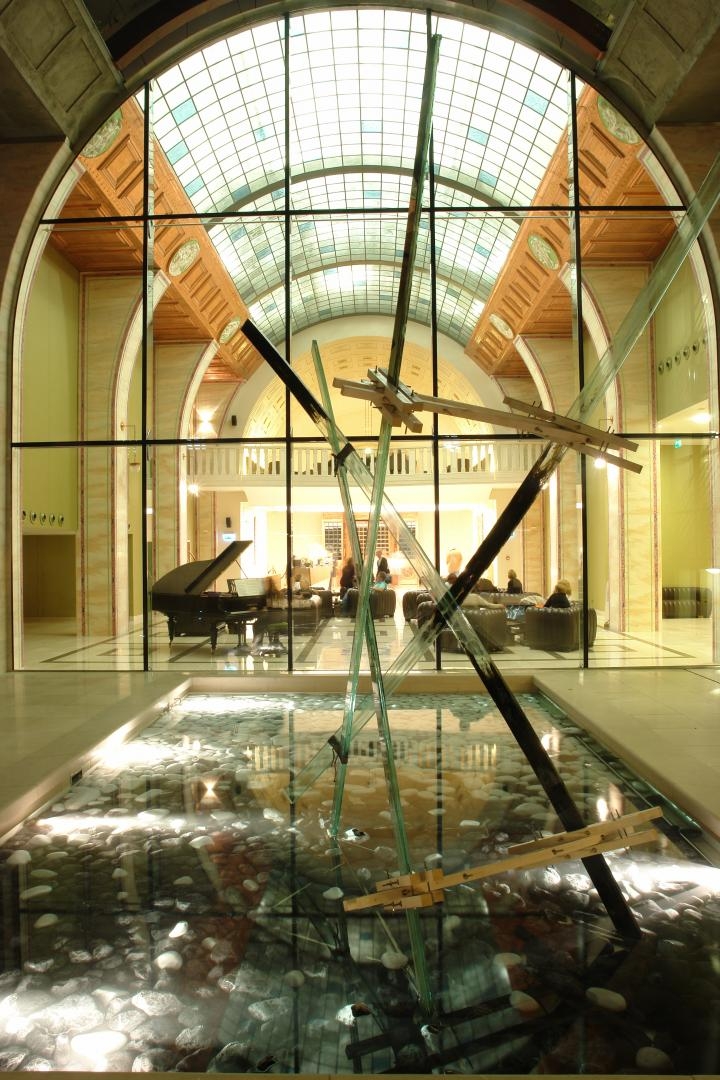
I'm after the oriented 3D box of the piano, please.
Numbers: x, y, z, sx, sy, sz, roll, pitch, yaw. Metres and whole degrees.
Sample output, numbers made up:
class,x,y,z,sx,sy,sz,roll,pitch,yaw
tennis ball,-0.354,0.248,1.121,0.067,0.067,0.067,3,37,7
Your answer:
class,x,y,z,sx,sy,sz,roll,pitch,yaw
piano,-2.192,0.725,10.345,1.228,1.372,1.407,-1,-3,-22
